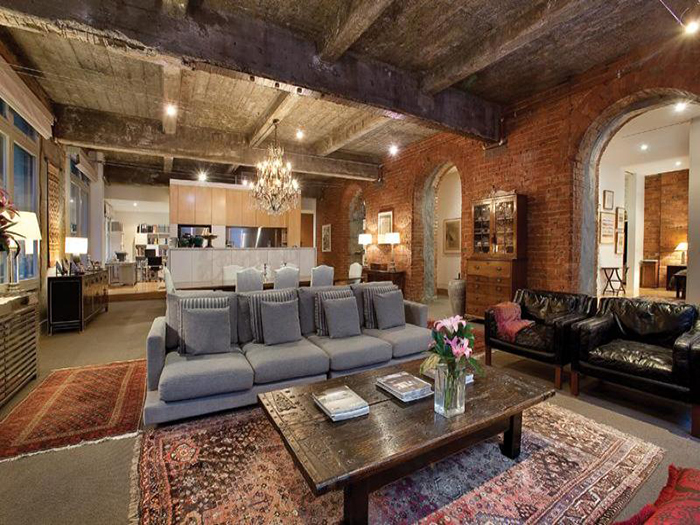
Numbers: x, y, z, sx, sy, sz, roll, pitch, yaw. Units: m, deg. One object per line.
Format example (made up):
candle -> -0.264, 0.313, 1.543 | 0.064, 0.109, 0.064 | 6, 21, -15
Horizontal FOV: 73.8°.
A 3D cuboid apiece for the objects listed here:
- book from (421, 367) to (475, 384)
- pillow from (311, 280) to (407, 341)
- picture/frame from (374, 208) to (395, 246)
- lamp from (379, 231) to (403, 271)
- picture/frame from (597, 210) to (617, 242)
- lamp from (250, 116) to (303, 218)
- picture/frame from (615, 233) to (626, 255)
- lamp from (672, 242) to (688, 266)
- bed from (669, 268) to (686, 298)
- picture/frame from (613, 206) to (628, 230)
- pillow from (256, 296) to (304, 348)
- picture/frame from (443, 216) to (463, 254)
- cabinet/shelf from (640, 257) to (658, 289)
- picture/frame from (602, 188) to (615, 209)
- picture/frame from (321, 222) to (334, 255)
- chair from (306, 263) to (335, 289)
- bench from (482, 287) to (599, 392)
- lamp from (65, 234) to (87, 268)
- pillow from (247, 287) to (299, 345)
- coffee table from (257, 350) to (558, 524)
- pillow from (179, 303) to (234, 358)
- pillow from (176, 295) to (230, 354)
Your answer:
book -> 0.873, 1.084, 4.423 | 0.340, 0.091, 0.328 | 1, 1, 35
pillow -> 0.076, 0.593, 5.772 | 0.977, 0.623, 0.269 | -2, -10, -31
picture/frame -> 0.770, -0.768, 10.059 | 0.080, 1.162, 0.800 | 1, -1, -25
lamp -> 0.837, -0.255, 9.897 | 0.425, 0.827, 1.115 | -1, 1, -10
picture/frame -> 5.062, -0.717, 9.206 | 0.757, 0.794, 0.077 | 1, 2, -39
lamp -> -1.336, -1.643, 8.305 | 0.844, 1.515, 1.473 | -1, 1, -7
picture/frame -> 5.829, -0.407, 10.065 | 0.068, 0.396, 0.507 | 1, 2, 42
lamp -> 7.929, -0.215, 11.164 | 0.224, 0.582, 0.730 | 0, 2, 32
bed -> 7.030, 0.473, 9.957 | 0.216, 0.545, 0.956 | 0, 2, 33
picture/frame -> 5.829, -0.966, 10.039 | 0.564, 0.575, 0.079 | -1, 1, -36
pillow -> -0.819, 0.686, 5.281 | 0.434, 0.488, 0.165 | -3, -14, -23
picture/frame -> 2.367, -0.628, 10.672 | 0.074, 1.114, 0.892 | -1, 2, -23
cabinet/shelf -> 7.551, 0.277, 11.766 | 0.381, 0.685, 0.237 | 0, 2, 34
picture/frame -> 5.291, -1.301, 9.571 | 0.435, 0.439, 0.056 | 4, -8, -41
picture/frame -> -0.684, -0.712, 13.946 | 0.107, 0.856, 0.607 | -2, 2, -27
chair -> -0.411, 0.213, 6.931 | 0.254, 0.504, 0.370 | 1, 1, -13
bench -> 2.358, 0.766, 5.884 | 1.035, 1.216, 1.157 | -2, 2, -35
lamp -> -4.808, -0.168, 8.155 | 0.315, 0.499, 1.415 | -2, 1, -32
pillow -> -0.946, 0.609, 5.343 | 0.543, 0.580, 0.214 | 4, -22, -13
coffee table -> 0.410, 1.519, 4.207 | 2.335, 1.122, 1.029 | -2, 2, -22
pillow -> -1.551, 0.738, 4.956 | 0.452, 0.476, 0.160 | 4, -14, -30
pillow -> -1.588, 0.690, 4.980 | 0.511, 0.665, 0.212 | 0, -10, -20
